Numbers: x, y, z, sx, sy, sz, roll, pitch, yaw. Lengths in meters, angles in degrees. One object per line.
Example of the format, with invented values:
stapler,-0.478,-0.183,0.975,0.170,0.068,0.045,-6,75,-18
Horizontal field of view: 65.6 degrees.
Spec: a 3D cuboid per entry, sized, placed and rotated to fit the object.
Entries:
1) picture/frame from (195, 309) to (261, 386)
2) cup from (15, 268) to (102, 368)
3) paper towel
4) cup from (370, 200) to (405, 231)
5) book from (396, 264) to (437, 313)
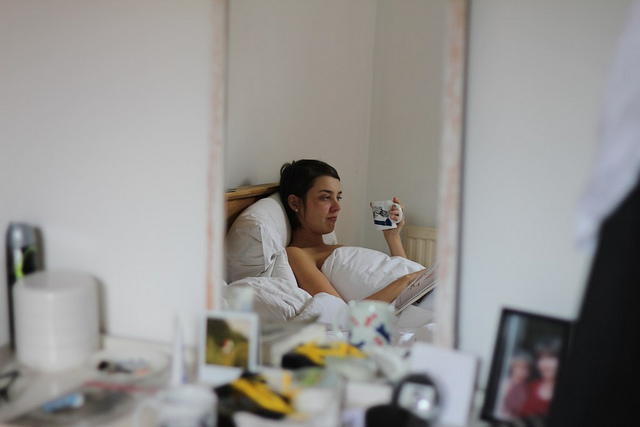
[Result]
picture/frame,-0.269,0.380,1.409,0.166,0.172,0.016,4,3,20
cup,-0.815,0.320,1.709,0.289,0.311,0.295,3,9,-1
paper towel,-0.822,0.326,1.699,0.295,0.317,0.300,5,9,11
cup,0.293,0.004,2.091,0.145,0.121,0.091,-5,1,41
book,0.345,0.277,1.783,0.228,0.026,0.124,-40,9,22
